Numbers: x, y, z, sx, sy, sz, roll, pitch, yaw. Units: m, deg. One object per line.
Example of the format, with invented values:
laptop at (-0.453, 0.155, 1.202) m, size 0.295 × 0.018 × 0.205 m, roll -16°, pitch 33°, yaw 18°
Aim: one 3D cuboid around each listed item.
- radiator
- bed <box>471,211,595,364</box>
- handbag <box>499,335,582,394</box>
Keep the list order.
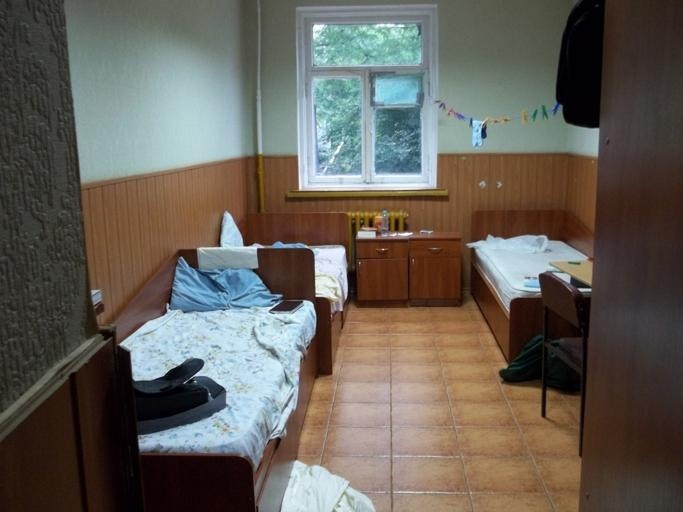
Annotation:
radiator at (0.375, -0.153, 5.297) m, size 0.585 × 0.674 × 0.114 m, roll -1°, pitch 13°, yaw 2°
bed at (1.652, 0.167, 4.779) m, size 0.786 × 0.800 × 1.529 m, roll -1°, pitch 15°, yaw 1°
handbag at (1.373, 0.778, 3.564) m, size 0.448 × 0.175 × 0.403 m, roll -8°, pitch 9°, yaw -33°
